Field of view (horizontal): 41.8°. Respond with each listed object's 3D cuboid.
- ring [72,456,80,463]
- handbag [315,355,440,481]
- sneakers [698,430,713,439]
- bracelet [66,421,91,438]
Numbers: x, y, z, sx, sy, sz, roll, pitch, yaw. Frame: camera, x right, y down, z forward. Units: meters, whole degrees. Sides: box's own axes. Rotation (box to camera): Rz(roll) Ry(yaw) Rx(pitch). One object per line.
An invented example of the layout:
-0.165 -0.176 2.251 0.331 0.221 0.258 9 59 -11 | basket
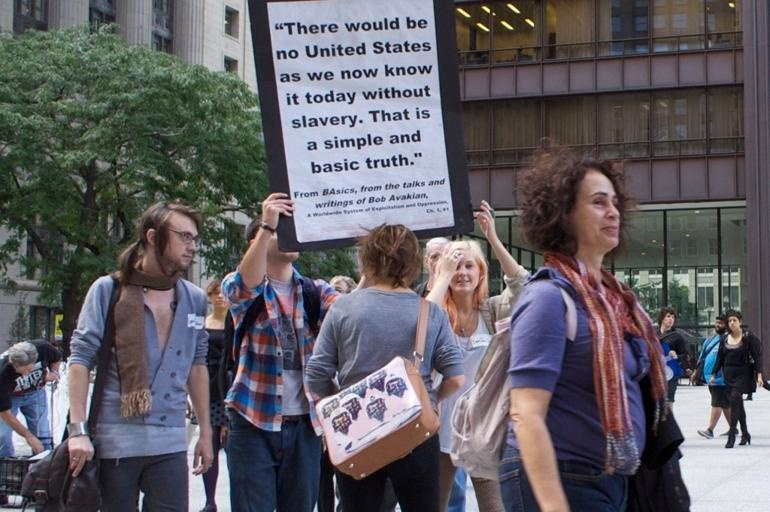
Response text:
-2.642 1.741 8.611 0.032 0.043 0.044 15 -29 9 | ring
-0.096 1.446 8.907 1.244 0.373 1.296 -17 27 30 | handbag
5.778 3.225 18.160 0.138 0.113 0.326 -14 5 -11 | sneakers
-2.659 1.505 8.724 0.174 0.123 0.189 -10 -6 24 | bracelet
